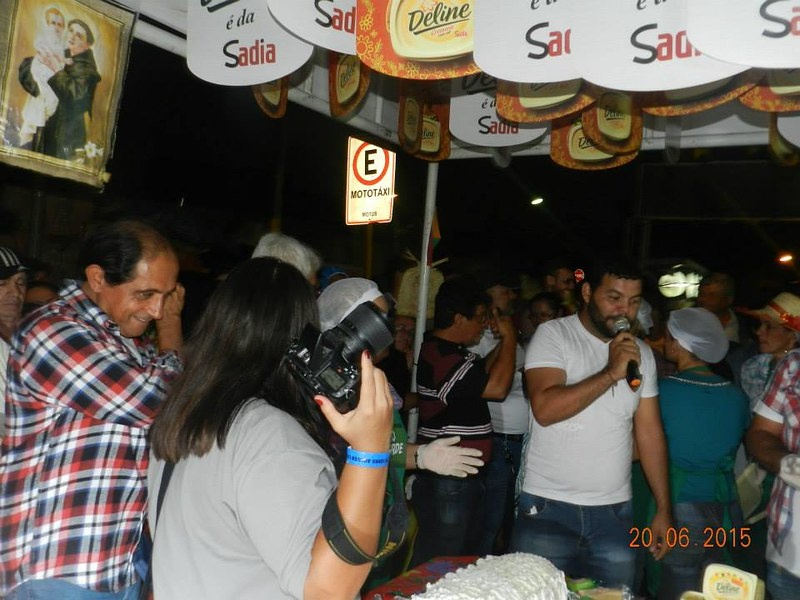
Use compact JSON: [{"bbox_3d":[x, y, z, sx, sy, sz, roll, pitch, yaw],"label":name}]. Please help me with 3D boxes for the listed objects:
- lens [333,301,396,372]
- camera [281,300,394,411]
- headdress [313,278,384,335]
[{"bbox_3d":[-0.124,0.128,2.480,0.191,0.204,0.184,-34,-4,-10],"label":"lens"},{"bbox_3d":[-0.204,0.176,2.430,0.336,0.386,0.224,27,-31,30],"label":"camera"},{"bbox_3d":[-0.225,0.010,3.095,0.252,0.243,0.197,18,3,0],"label":"headdress"}]
